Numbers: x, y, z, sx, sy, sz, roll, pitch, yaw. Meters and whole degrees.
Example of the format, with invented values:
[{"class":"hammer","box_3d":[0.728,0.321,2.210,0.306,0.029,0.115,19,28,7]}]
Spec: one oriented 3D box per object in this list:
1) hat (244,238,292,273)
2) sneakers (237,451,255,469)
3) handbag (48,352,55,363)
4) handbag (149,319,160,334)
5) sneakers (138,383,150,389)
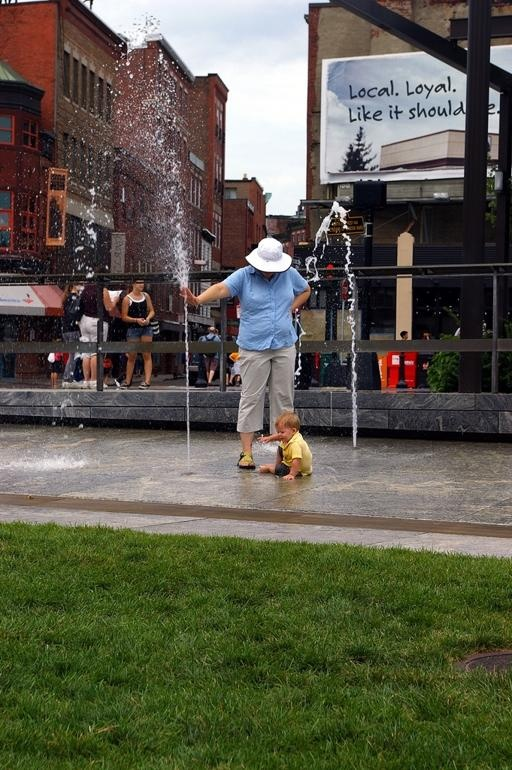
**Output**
[{"class":"hat","box_3d":[0.074,-0.879,8.728,0.263,0.188,0.413,0,0,8]},{"class":"sneakers","box_3d":[-0.073,0.511,8.775,0.123,0.096,0.259,0,0,-1]},{"class":"handbag","box_3d":[-2.357,-0.324,14.882,0.061,0.101,0.175,2,2,1]},{"class":"handbag","box_3d":[-1.181,-0.689,14.920,0.089,0.173,0.120,-12,42,-8]},{"class":"sneakers","box_3d":[-1.224,0.004,14.096,0.064,0.100,0.195,0,-6,12]}]
